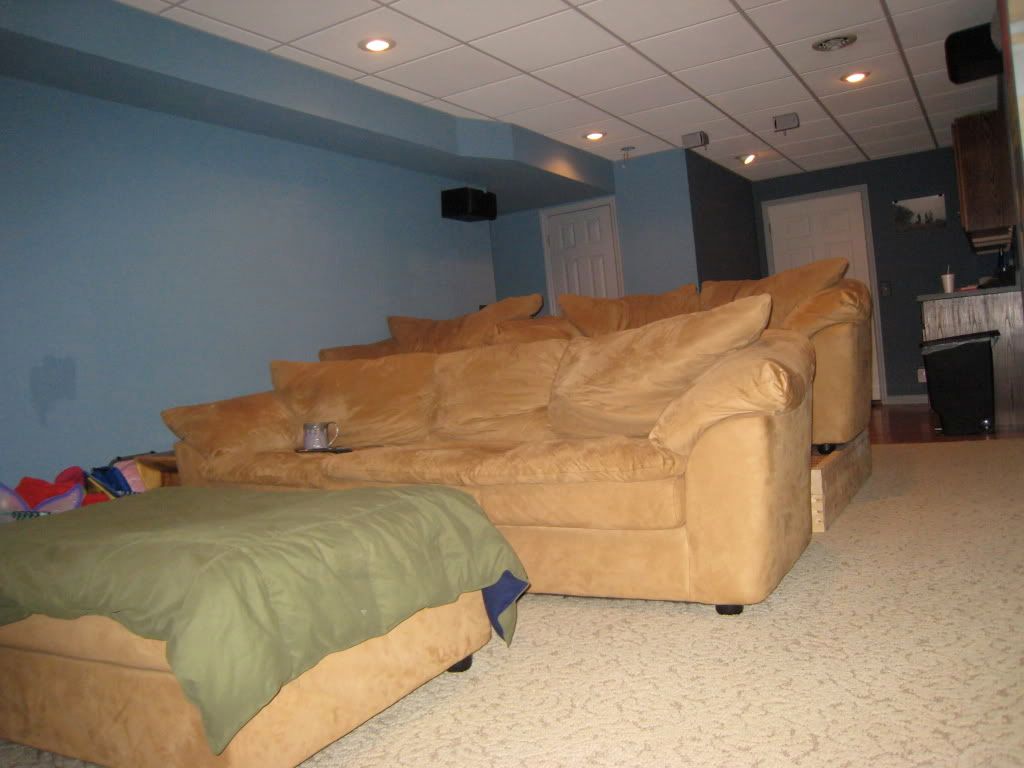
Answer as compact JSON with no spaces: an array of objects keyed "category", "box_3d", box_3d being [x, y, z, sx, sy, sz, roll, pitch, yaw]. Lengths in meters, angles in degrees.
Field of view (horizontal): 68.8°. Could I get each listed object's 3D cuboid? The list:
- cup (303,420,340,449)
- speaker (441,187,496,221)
[{"category":"cup","box_3d":[-0.886,0.249,3.498,0.103,0.112,0.163,-2,-4,27]},{"category":"speaker","box_3d":[-0.454,-1.581,6.702,0.299,0.219,0.439,3,4,36]}]
